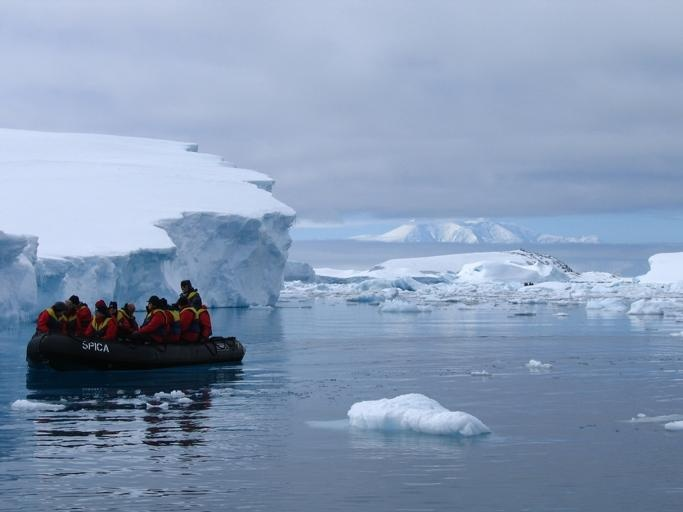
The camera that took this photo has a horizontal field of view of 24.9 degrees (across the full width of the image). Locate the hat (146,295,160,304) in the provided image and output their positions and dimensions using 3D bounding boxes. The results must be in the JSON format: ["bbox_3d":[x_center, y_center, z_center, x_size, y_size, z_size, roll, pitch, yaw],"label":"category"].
[{"bbox_3d":[-5.795,1.414,47.681,0.391,0.242,0.528,0,5,-27],"label":"hat"}]
